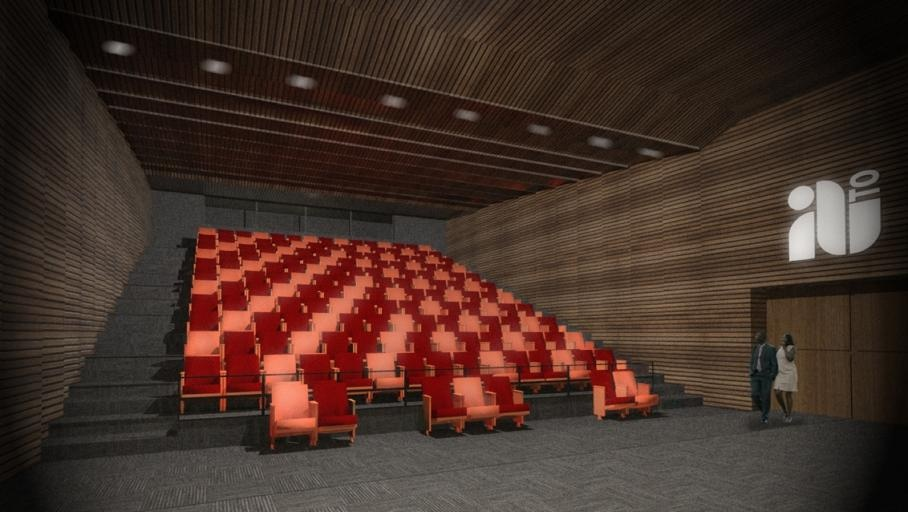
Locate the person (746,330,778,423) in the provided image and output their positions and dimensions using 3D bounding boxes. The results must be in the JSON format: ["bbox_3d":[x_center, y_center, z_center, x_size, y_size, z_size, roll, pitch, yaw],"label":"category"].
[{"bbox_3d":[5.712,2.251,8.852,0.523,1.595,0.425,-1,3,-35],"label":"person"}]
